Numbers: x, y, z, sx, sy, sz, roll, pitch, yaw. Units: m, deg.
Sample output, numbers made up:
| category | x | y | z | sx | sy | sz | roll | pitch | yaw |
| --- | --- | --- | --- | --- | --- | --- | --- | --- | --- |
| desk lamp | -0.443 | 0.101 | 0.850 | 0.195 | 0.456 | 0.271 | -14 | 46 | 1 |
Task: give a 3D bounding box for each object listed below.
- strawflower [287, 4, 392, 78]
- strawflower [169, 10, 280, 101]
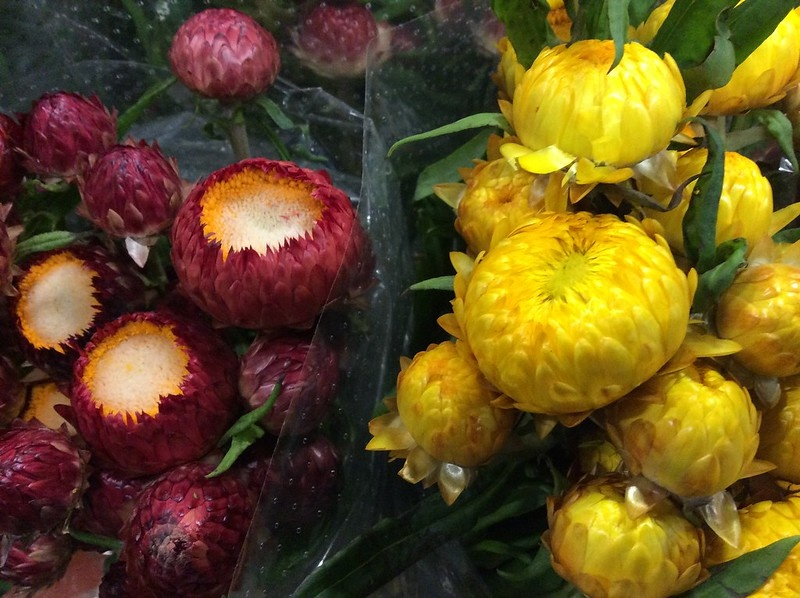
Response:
| category | x | y | z | sx | sy | sz | roll | pitch | yaw |
| --- | --- | --- | --- | --- | --- | --- | --- | --- | --- |
| strawflower | -0.099 | -0.422 | 1.321 | 0.150 | 0.106 | 0.077 | 15 | 49 | 14 |
| strawflower | -0.247 | -0.343 | 1.153 | 0.124 | 0.098 | 0.127 | 23 | 52 | 21 |
